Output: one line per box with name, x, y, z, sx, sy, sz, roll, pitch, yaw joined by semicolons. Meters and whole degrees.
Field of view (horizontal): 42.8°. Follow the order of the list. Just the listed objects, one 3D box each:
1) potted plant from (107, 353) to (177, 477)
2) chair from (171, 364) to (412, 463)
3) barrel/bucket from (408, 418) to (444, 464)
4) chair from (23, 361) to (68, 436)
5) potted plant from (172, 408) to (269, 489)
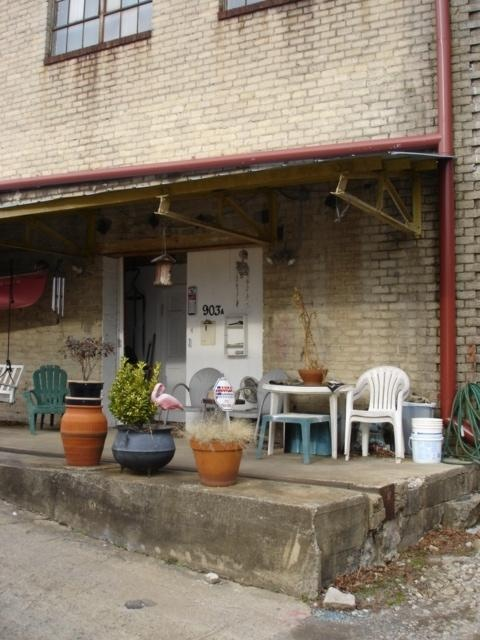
potted plant;-0.654;0.699;4.251;0.413;0.731;0.488;-4;-9;18
chair;0.803;0.722;5.404;1.215;0.760;1.054;0;-4;5
barrel/bucket;1.546;1.004;5.096;0.325;0.364;0.299;-1;-7;0
chair;-2.409;0.996;7.644;0.533;0.769;0.609;-4;-10;-14
potted plant;-0.139;0.812;3.816;0.425;0.403;0.420;-2;-8;6
